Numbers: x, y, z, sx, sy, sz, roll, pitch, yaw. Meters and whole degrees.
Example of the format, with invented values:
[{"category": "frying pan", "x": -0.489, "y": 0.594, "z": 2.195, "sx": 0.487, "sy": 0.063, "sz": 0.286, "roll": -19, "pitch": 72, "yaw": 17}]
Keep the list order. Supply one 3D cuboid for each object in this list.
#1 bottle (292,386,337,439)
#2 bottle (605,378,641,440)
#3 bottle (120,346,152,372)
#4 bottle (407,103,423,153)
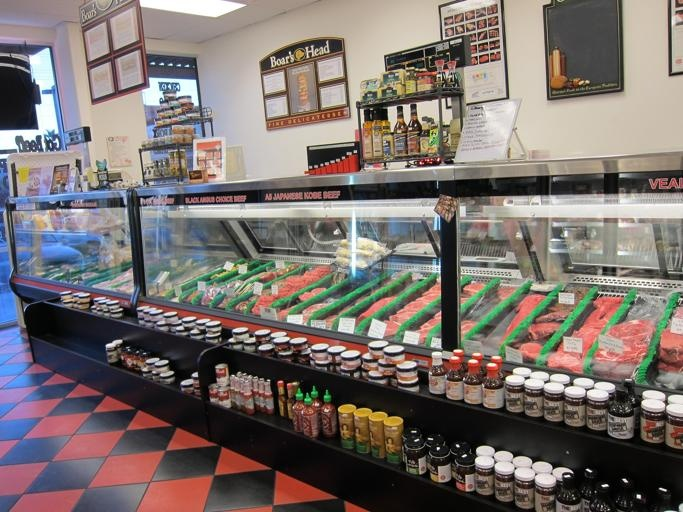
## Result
[{"category": "bottle", "x": -0.137, "y": 0.849, "z": 2.623, "sx": 0.287, "sy": 0.279, "sz": 0.209, "roll": 6, "pitch": 10, "yaw": 35}, {"category": "bottle", "x": 1.162, "y": 0.614, "z": 1.883, "sx": 0.100, "sy": 0.215, "sz": 0.189, "roll": 3, "pitch": 12, "yaw": 36}, {"category": "bottle", "x": -1.587, "y": 0.777, "z": 3.486, "sx": 0.147, "sy": 0.105, "sz": 0.250, "roll": 0, "pitch": 5, "yaw": -38}, {"category": "bottle", "x": 0.612, "y": -1.057, "z": 3.841, "sx": 0.119, "sy": 0.416, "sz": 0.301, "roll": -2, "pitch": 10, "yaw": 11}]
